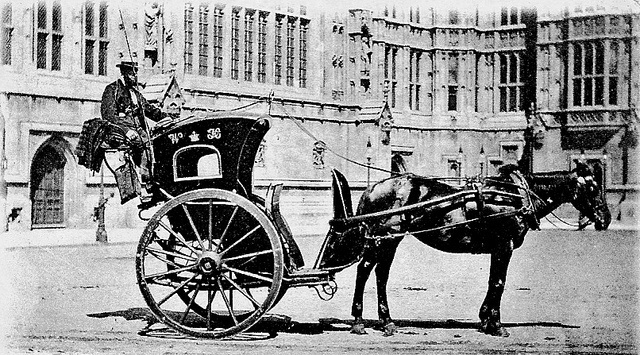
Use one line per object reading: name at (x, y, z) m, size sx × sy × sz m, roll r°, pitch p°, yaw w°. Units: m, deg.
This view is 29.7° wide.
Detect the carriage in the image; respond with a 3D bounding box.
carriage at (0.012, 1.760, 41.851) m, size 22.440 × 7.130 × 6.172 m, roll 0°, pitch 0°, yaw -2°

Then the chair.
chair at (-5.913, -0.619, 38.792) m, size 2.578 × 3.836 × 1.596 m, roll 2°, pitch 2°, yaw 38°
